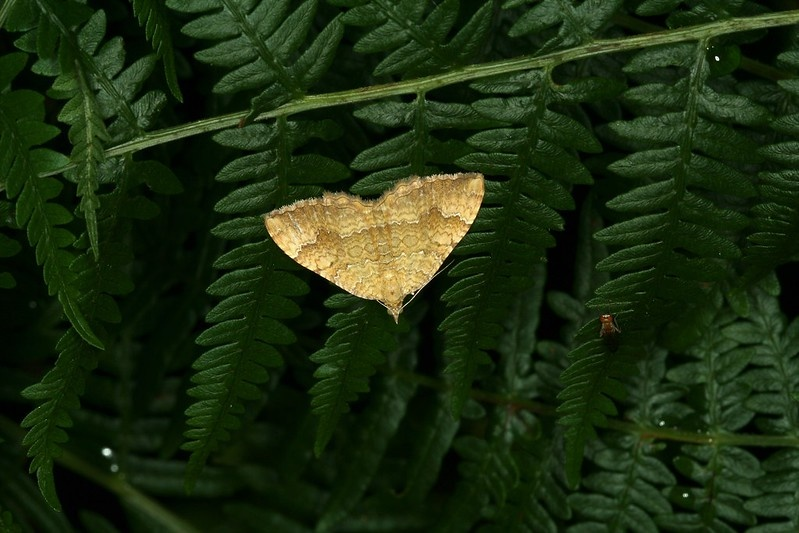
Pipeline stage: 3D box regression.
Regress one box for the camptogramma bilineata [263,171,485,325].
[{"bbox_3d":[-0.125,-0.133,4.985,1.019,0.746,0.510,10,-7,4],"label":"camptogramma bilineata"}]
